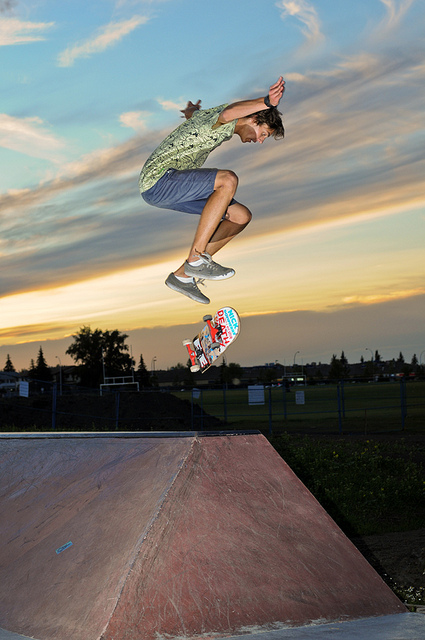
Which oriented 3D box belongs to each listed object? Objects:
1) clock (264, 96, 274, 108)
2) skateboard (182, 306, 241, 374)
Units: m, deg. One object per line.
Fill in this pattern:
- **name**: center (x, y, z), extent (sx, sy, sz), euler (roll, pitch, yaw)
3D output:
- **clock**: center (0.528, -2.041, 4.424), extent (0.086, 0.084, 0.057), euler (-1, -3, -44)
- **skateboard**: center (-0.036, 0.285, 5.677), extent (0.173, 0.406, 1.013), euler (-4, -29, -42)
